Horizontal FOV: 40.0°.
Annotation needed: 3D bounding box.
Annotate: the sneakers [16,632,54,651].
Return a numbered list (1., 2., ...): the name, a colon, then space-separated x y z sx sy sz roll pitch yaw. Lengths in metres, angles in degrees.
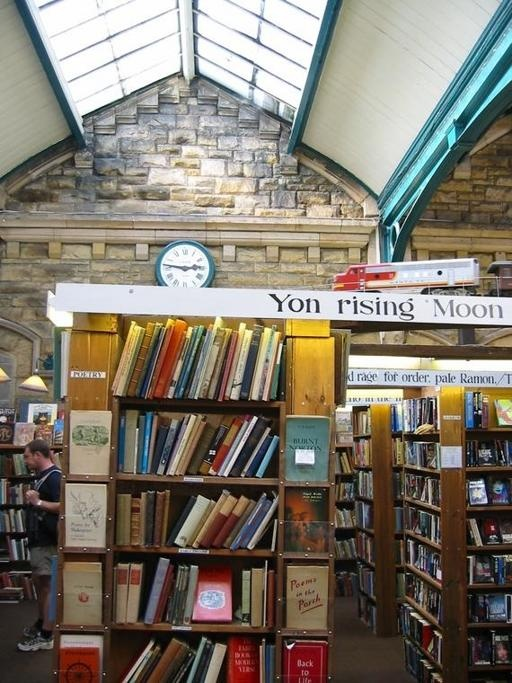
1. sneakers: -1.647 2.217 5.161 0.311 0.139 0.106 4 -8 -7
